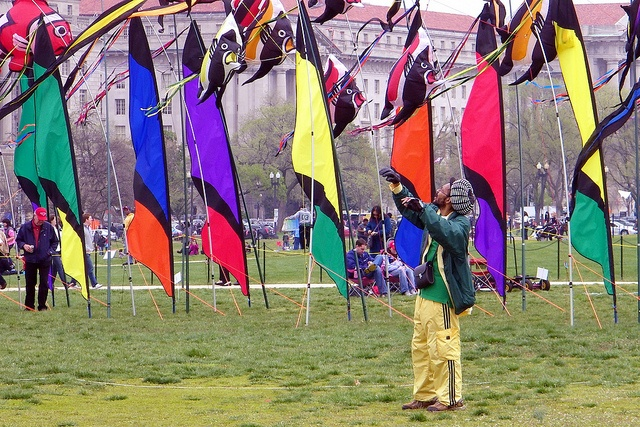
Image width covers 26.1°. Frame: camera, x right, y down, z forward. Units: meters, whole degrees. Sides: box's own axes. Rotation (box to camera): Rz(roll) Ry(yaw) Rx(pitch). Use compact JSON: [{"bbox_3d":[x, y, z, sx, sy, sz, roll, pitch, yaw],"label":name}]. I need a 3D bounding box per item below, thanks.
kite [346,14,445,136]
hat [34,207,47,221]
[{"bbox_3d":[3.069,-4.914,45.886,2.154,3.727,0.799,-8,-9,34],"label":"kite"},{"bbox_3d":[-9.147,0.015,45.547,0.276,0.232,0.443,1,28,-31],"label":"hat"}]
